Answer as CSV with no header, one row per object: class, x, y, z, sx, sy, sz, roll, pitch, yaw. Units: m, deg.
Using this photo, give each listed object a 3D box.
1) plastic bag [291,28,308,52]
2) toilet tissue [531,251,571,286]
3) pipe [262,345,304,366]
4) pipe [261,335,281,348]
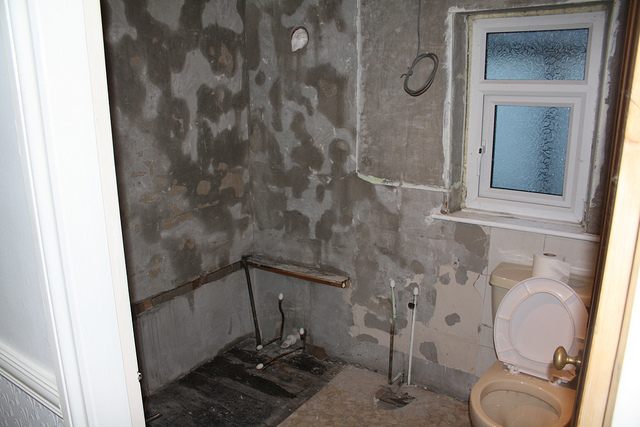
plastic bag,-0.143,-1.220,3.180,0.102,0.135,0.031,22,23,20
toilet tissue,1.275,0.297,2.490,0.144,0.146,0.202,-11,16,-25
pipe,-0.274,1.105,3.521,0.226,0.046,0.027,-23,28,-16
pipe,-0.393,1.045,3.700,0.039,0.028,0.169,-5,11,34
